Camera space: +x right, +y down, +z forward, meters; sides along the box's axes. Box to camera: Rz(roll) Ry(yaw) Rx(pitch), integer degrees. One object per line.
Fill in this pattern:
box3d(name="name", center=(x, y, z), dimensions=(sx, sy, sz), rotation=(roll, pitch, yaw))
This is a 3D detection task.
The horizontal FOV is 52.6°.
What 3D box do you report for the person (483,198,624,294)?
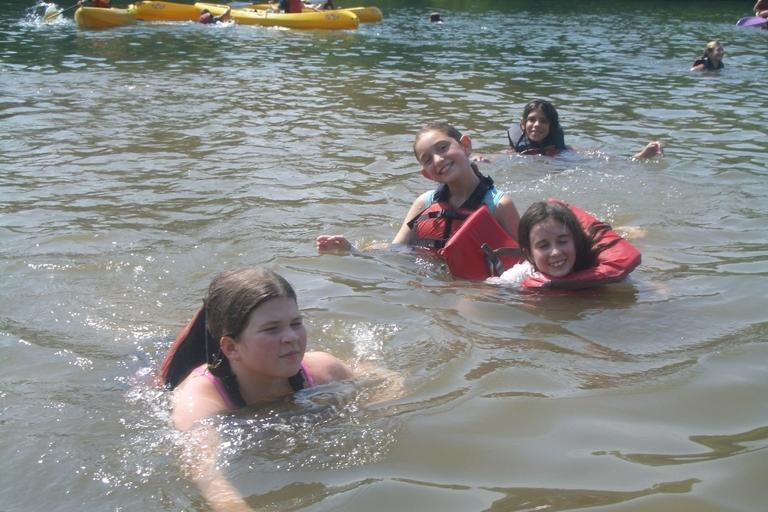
box3d(name="person", center=(1.719, -0.076, 7.307), dimensions=(1.085, 0.777, 0.869), rotation=(-16, 28, -28))
